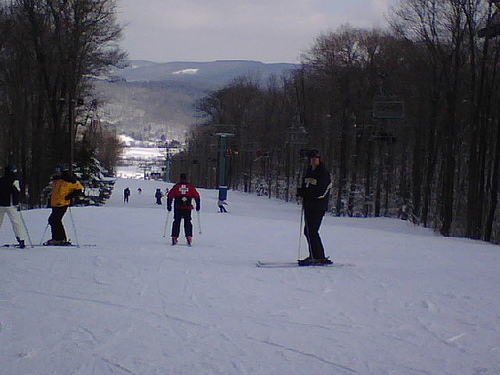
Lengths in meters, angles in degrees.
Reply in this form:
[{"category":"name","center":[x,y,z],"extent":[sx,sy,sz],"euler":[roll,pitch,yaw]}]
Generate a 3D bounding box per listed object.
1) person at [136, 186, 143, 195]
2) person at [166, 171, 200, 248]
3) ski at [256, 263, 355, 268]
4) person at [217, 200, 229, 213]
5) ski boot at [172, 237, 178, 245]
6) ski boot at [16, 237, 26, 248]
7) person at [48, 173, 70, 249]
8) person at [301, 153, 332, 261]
[{"category":"person","center":[-15.084,0.419,83.439],"extent":[0.639,1.114,0.746],"euler":[0,-4,-5]},{"category":"person","center":[-2.109,0.698,19.211],"extent":[0.979,2.193,1.199],"euler":[1,3,-5]},{"category":"ski","center":[1.244,1.974,15.689],"extent":[2.239,0.060,0.276],"euler":[1,4,-3]},{"category":"person","center":[-1.993,1.253,42.850],"extent":[0.753,1.049,0.579],"euler":[-9,13,-32]},{"category":"ski boot","center":[-2.347,1.613,19.087],"extent":[0.162,0.217,0.176],"euler":[0,1,-3]},{"category":"ski boot","center":[-6.655,1.592,17.912],"extent":[0.231,0.386,0.240],"euler":[0,-2,-5]},{"category":"person","center":[-5.773,0.638,18.645],"extent":[0.586,2.096,0.711],"euler":[1,3,2]},{"category":"person","center":[1.639,0.482,15.724],"extent":[0.667,2.687,0.422],"euler":[1,3,5]}]
